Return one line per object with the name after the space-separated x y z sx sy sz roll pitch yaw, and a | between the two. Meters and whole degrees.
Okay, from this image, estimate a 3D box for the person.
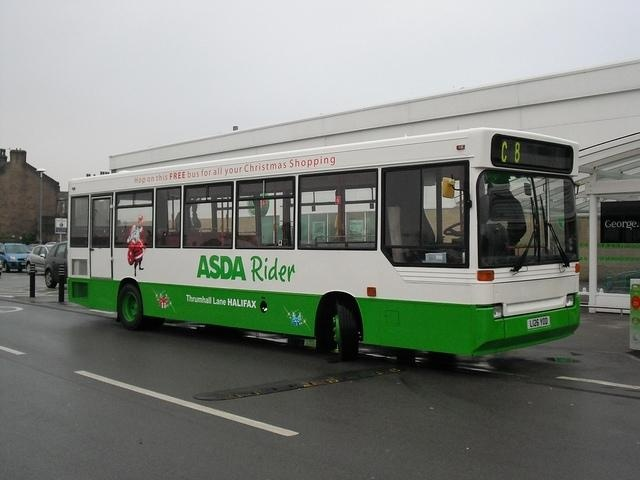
2.808 -0.375 9.184 0.740 1.285 0.376 1 2 -38 | person
